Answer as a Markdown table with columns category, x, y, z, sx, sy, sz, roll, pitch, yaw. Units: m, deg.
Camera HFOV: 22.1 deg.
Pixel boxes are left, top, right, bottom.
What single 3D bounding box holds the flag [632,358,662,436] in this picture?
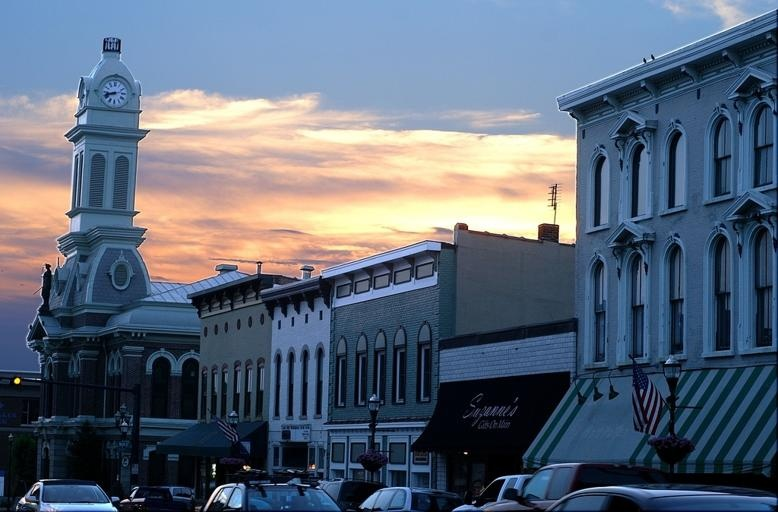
| category | x | y | z | sx | sy | sz | roll | pitch | yaw |
| --- | --- | --- | --- | --- | --- | --- | --- | --- | --- |
| flag | 10.867 | 5.871 | 83.591 | 1.114 | 2.878 | 0.793 | -2 | -10 | 6 |
